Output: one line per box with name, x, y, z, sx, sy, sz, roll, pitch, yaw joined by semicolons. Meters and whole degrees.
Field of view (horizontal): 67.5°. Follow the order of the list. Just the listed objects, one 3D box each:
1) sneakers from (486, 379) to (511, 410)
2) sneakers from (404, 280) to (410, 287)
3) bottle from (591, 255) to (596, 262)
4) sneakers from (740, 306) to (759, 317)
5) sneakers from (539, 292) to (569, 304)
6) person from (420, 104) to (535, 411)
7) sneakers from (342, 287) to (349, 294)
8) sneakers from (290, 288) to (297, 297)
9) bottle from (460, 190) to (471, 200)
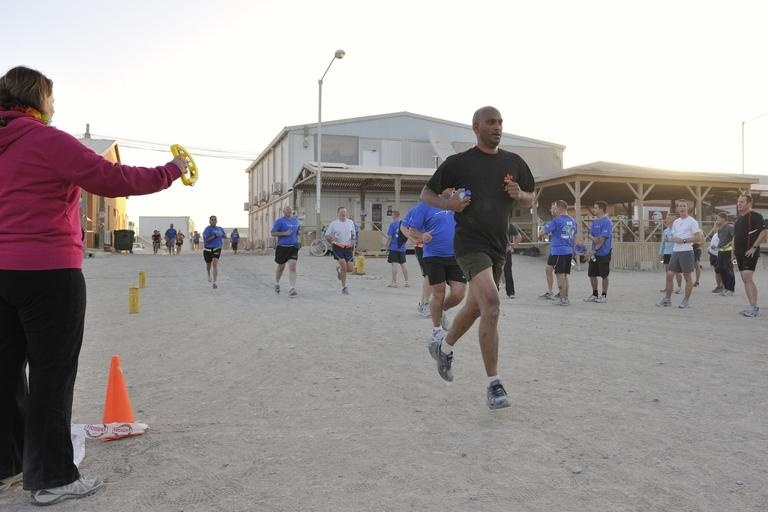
sneakers;0.947;1.196;4.953;0.169;0.254;0.251;-8;10;-44
sneakers;0.594;0.733;15.099;0.129;0.154;0.356;-1;-6;0
bottle;4.244;0.054;11.665;0.089;0.017;0.161;-34;34;-4
sneakers;5.909;0.891;9.280;0.270;0.150;0.349;3;8;28
sneakers;3.472;0.879;11.710;0.511;0.227;0.176;13;-2;22
person;0.851;-0.073;5.229;1.001;2.550;0.762;0;7;4
sneakers;-0.878;0.791;13.047;0.139;0.188;0.427;0;-3;-9
sneakers;-1.973;0.790;12.399;0.163;0.135;0.137;-1;-8;6
bottle;0.730;-0.547;5.185;0.057;0.097;0.096;0;19;-21
